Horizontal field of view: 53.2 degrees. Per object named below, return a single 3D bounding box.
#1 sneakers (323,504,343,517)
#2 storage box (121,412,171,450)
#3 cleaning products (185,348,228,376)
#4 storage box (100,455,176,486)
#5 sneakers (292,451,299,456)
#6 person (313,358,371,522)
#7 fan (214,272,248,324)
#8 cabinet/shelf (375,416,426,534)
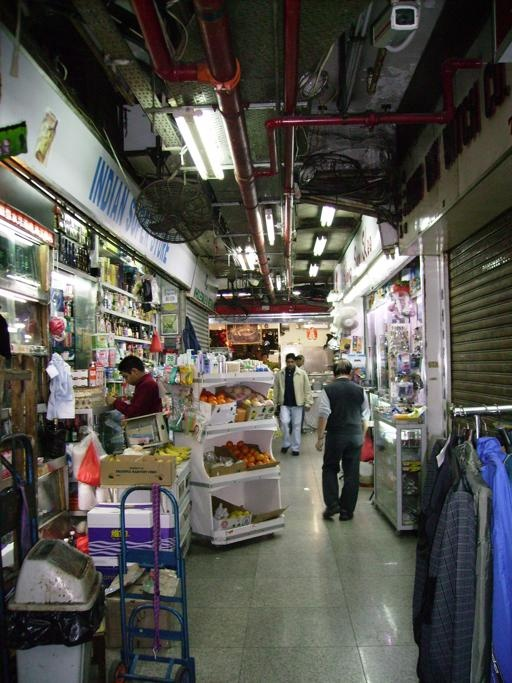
[{"bbox_3d":[0.704,1.598,4.826,0.216,0.107,0.079,-23,-27,20],"label":"sneakers"},{"bbox_3d":[-0.850,0.696,3.977,0.276,0.182,0.284,-11,-4,30],"label":"storage box"},{"bbox_3d":[-0.400,0.086,4.306,0.188,0.382,0.372,-7,-5,39],"label":"cleaning products"},{"bbox_3d":[-0.682,0.730,2.914,0.464,0.176,0.123,-1,-3,7],"label":"storage box"},{"bbox_3d":[0.645,1.864,8.533,0.104,0.057,0.161,-1,-3,0],"label":"sneakers"},{"bbox_3d":[0.827,0.919,4.854,0.504,1.490,0.424,0,-3,-1],"label":"person"},{"bbox_3d":[-0.774,-1.423,15.429,0.442,1.176,1.231,1,-11,-20],"label":"fan"},{"bbox_3d":[1.234,1.133,4.342,0.316,1.029,1.000,1,-1,4],"label":"cabinet/shelf"}]
